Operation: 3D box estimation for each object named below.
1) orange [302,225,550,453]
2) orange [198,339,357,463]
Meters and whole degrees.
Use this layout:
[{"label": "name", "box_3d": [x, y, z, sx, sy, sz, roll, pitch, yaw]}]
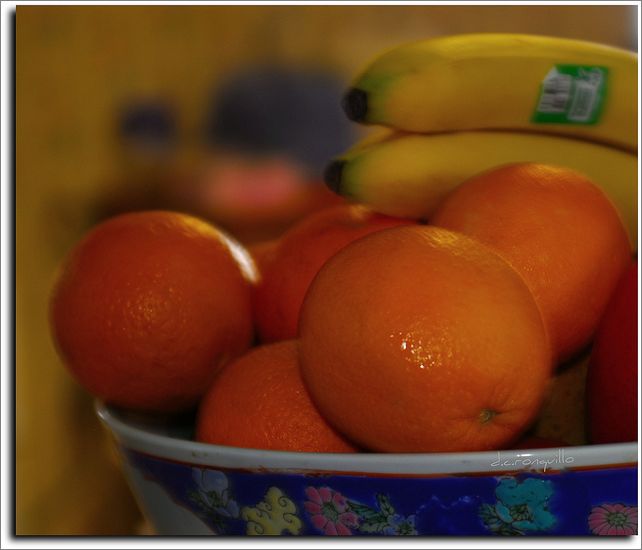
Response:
[{"label": "orange", "box_3d": [0.066, 0.044, 0.471, 0.134, 0.152, 0.136, 0, 3, 5]}, {"label": "orange", "box_3d": [-0.028, 0.106, 0.532, 0.099, 0.093, 0.090, 4, 34, 32]}]
